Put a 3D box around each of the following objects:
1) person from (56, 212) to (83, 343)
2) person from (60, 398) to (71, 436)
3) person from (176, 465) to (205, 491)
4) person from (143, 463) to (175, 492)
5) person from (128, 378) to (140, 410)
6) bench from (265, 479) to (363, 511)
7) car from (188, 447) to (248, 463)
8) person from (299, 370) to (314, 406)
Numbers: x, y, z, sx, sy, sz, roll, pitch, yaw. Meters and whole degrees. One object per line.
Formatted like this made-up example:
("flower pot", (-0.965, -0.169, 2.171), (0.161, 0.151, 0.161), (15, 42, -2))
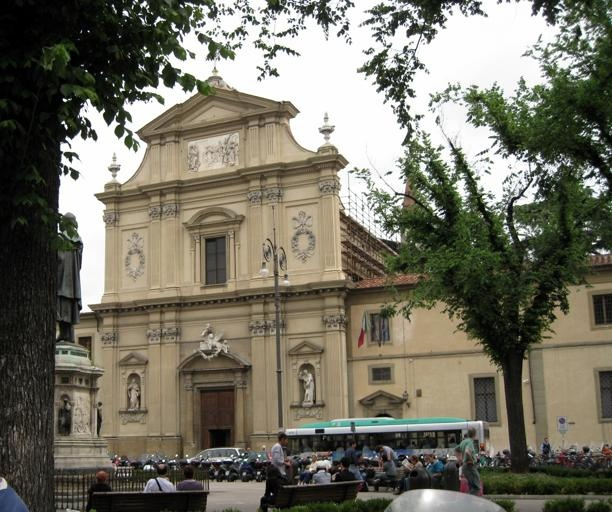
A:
("person", (-5.627, 0.813, 23.365), (0.569, 2.193, 1.573), (0, -15, -14))
("person", (-5.636, 3.787, 23.142), (0.231, 0.841, 0.098), (-2, -14, -7))
("person", (-2.289, 4.293, 19.050), (0.468, 0.566, 1.527), (-2, -15, -8))
("person", (-2.781, 4.198, 18.666), (0.483, 0.556, 0.948), (-3, -15, -4))
("person", (-8.486, 6.807, 48.303), (0.577, 1.530, 0.252), (-1, -20, -9))
("bench", (0.240, 4.476, 18.438), (1.843, 0.427, 0.436), (6, -17, -33))
("car", (-3.656, 8.385, 41.262), (1.593, 0.658, 0.928), (1, -11, 8))
("person", (0.077, 5.965, 44.745), (0.688, 1.755, 0.610), (-6, -14, 6))
